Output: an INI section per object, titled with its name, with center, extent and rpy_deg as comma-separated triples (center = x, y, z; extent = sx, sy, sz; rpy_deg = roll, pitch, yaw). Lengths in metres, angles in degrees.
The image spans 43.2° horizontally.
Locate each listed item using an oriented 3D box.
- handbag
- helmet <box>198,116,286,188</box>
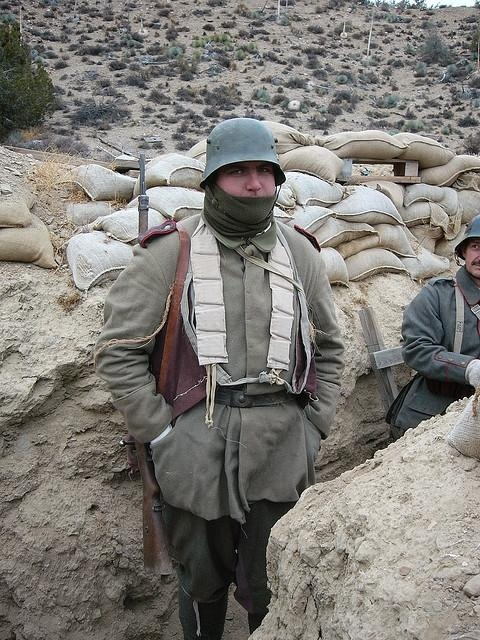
[handbag]
center = 0.979, 0.469, 3.314
extent = 0.450, 0.339, 0.433
rpy_deg = -10, 18, -32
[helmet]
center = -0.003, -0.627, 2.292
extent = 0.235, 0.211, 0.264
rpy_deg = 1, -13, -24
